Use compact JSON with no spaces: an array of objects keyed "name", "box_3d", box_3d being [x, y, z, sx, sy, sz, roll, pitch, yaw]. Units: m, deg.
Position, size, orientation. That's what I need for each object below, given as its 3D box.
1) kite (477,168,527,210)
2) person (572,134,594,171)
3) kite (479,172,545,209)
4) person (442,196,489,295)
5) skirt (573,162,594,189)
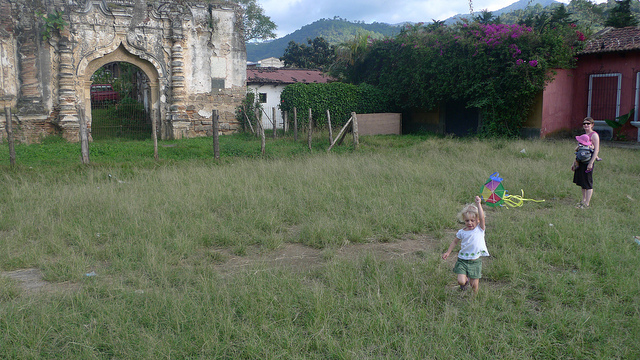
[{"name":"kite","box_3d":[6.028,0.521,20.881,1.449,1.170,0.404,38,-16,13]},{"name":"person","box_3d":[8.920,-0.974,21.273,0.629,1.189,0.326,6,8,33]},{"name":"kite","box_3d":[6.307,0.431,20.876,2.019,1.295,0.968,11,-23,13]},{"name":"person","box_3d":[4.219,1.836,17.772,1.022,2.748,0.606,2,7,11]},{"name":"skirt","box_3d":[8.831,-0.180,21.135,0.625,0.863,0.426,6,8,34]}]
